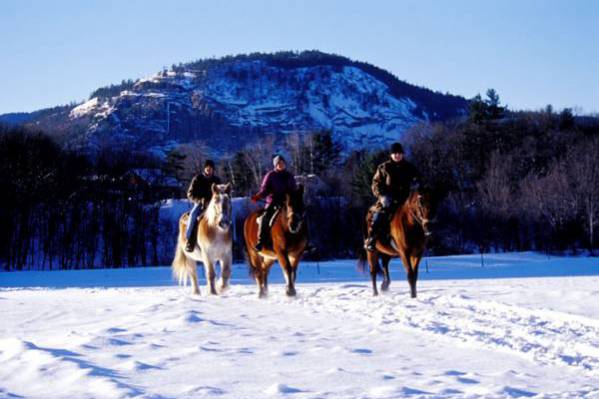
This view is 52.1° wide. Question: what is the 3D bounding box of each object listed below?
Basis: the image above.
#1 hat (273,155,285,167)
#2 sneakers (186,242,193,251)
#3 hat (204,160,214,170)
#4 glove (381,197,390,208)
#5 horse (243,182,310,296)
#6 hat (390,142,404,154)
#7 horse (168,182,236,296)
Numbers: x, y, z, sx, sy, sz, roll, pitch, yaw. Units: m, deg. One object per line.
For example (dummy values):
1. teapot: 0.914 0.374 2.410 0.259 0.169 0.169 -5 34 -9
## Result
1. hat: -0.680 -1.255 19.032 0.372 0.356 0.281 -25 -9 37
2. sneakers: -3.400 1.460 18.859 0.160 0.261 0.072 0 1 -3
3. hat: -2.856 -1.166 19.225 0.279 0.331 0.755 1 -6 -9
4. glove: 2.538 0.073 18.161 0.085 0.309 0.216 4 -7 -31
5. horse: -0.725 1.290 18.536 1.210 3.298 2.887 3 -6 -27
6. hat: 2.992 -1.585 18.753 0.309 0.400 0.428 1 -11 -10
7. horse: -2.800 1.208 18.526 1.194 3.363 3.453 3 -6 -25
